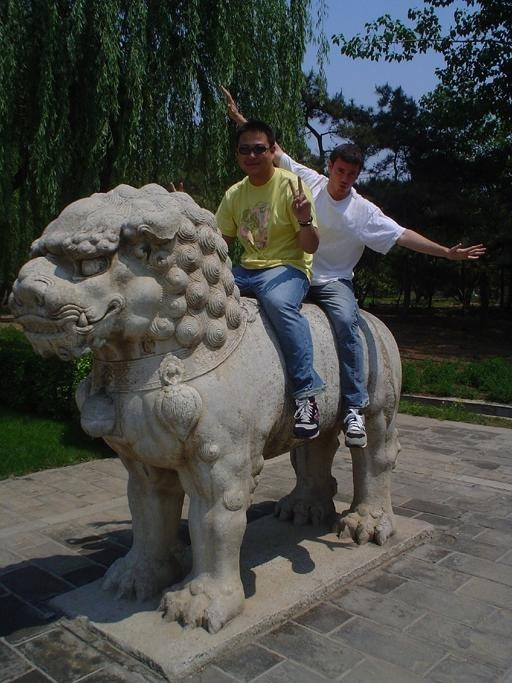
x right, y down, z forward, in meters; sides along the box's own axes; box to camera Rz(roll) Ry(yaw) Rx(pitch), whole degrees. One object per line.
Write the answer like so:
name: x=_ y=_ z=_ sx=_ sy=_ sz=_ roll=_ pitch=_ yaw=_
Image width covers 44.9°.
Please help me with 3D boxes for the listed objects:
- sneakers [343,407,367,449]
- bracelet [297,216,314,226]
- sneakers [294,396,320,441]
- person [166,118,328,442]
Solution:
sneakers: x=0.436 y=0.383 z=2.766 sx=0.095 sy=0.187 sz=0.213 roll=1 pitch=2 yaw=8
bracelet: x=0.196 y=-0.482 z=2.453 sx=0.052 sy=0.051 sz=0.116 roll=1 pitch=2 yaw=7
sneakers: x=0.199 y=0.306 z=2.474 sx=0.105 sy=0.190 sz=0.197 roll=1 pitch=2 yaw=3
person: x=0.081 y=-0.279 z=2.658 sx=0.323 sy=1.276 sz=0.656 roll=-1 pitch=3 yaw=-32
